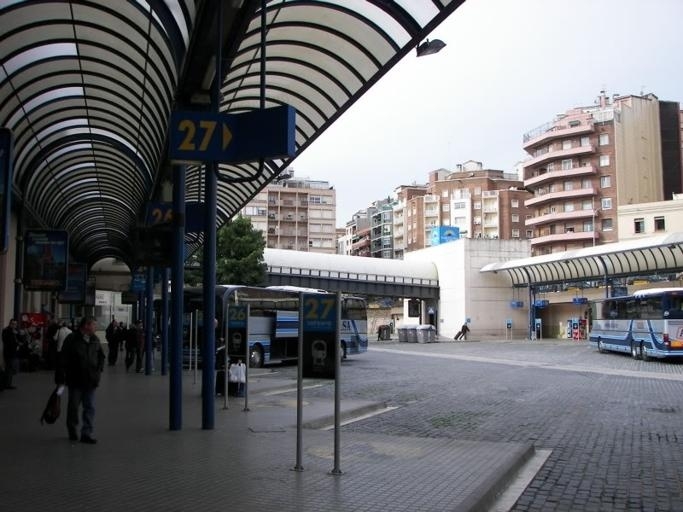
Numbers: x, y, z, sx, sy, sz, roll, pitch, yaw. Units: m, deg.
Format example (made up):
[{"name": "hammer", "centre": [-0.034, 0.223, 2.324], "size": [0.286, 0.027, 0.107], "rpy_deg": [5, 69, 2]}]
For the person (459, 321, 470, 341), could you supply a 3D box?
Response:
[{"name": "person", "centre": [12.508, 7.422, 66.771], "size": [1.029, 1.891, 1.569], "rpy_deg": [-2, -7, 15]}]

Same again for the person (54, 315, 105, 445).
[{"name": "person", "centre": [-4.537, 2.121, 11.464], "size": [0.659, 2.143, 0.541], "rpy_deg": [0, -6, -5]}]

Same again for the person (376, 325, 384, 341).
[{"name": "person", "centre": [4.244, 8.023, 69.702], "size": [0.531, 1.422, 1.656], "rpy_deg": [-2, -7, 11]}]
